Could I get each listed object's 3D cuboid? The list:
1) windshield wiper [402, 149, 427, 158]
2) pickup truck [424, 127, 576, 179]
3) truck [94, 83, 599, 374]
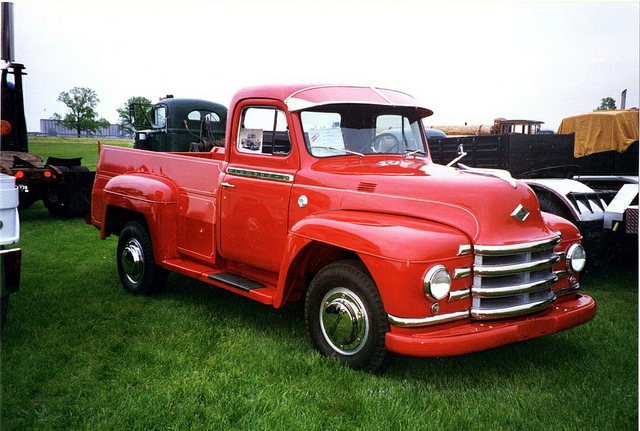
[{"bbox_3d":[1.126,-0.759,5.117,0.220,0.093,0.049,-25,19,-19],"label":"windshield wiper"},{"bbox_3d":[3.610,-1.182,8.803,1.503,1.332,2.712,-8,14,-34],"label":"pickup truck"},{"bbox_3d":[-0.246,-0.116,5.379,5.669,2.446,2.779,6,7,41],"label":"truck"}]
